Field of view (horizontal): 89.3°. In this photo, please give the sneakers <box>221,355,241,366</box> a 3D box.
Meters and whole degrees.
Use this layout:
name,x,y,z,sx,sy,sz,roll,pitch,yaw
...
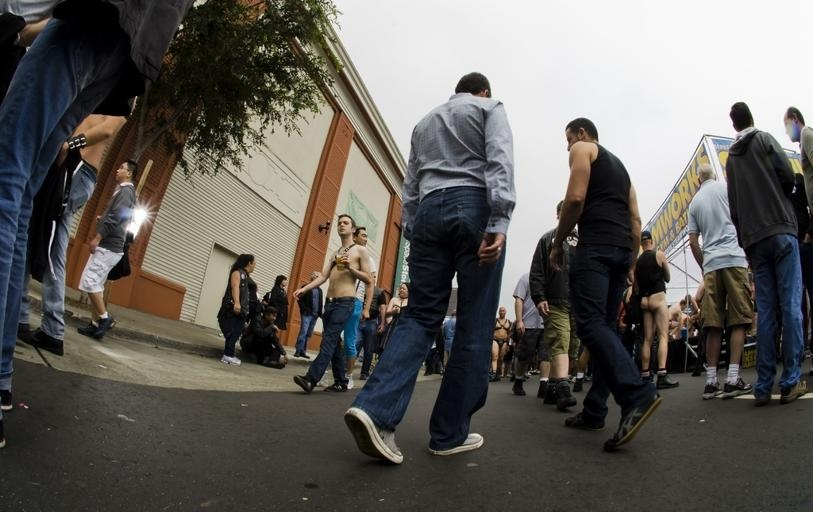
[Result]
name,x,y,z,sx,sy,sz,roll,pitch,yaw
sneakers,-3.494,2.070,8.140,0.446,0.203,0.186,12,-2,-27

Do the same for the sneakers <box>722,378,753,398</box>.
name,x,y,z,sx,sy,sz,roll,pitch,yaw
sneakers,4.140,1.636,5.139,0.576,0.265,0.187,7,-10,-30

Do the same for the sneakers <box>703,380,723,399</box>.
name,x,y,z,sx,sy,sz,roll,pitch,yaw
sneakers,3.866,1.695,5.173,0.190,0.224,0.397,2,-10,41

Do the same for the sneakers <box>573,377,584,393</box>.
name,x,y,z,sx,sy,sz,roll,pitch,yaw
sneakers,3.186,2.393,7.513,0.165,0.245,0.580,-8,-29,28

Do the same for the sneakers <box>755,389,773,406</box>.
name,x,y,z,sx,sy,sz,roll,pitch,yaw
sneakers,3.748,1.506,4.301,0.087,0.119,0.278,-18,-48,39

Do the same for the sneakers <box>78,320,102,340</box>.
name,x,y,z,sx,sy,sz,roll,pitch,yaw
sneakers,-4.644,1.066,5.993,0.378,0.264,0.217,6,-7,14

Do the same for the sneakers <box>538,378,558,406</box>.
name,x,y,z,sx,sy,sz,roll,pitch,yaw
sneakers,2.076,2.025,6.052,0.230,0.271,0.631,0,-23,8
